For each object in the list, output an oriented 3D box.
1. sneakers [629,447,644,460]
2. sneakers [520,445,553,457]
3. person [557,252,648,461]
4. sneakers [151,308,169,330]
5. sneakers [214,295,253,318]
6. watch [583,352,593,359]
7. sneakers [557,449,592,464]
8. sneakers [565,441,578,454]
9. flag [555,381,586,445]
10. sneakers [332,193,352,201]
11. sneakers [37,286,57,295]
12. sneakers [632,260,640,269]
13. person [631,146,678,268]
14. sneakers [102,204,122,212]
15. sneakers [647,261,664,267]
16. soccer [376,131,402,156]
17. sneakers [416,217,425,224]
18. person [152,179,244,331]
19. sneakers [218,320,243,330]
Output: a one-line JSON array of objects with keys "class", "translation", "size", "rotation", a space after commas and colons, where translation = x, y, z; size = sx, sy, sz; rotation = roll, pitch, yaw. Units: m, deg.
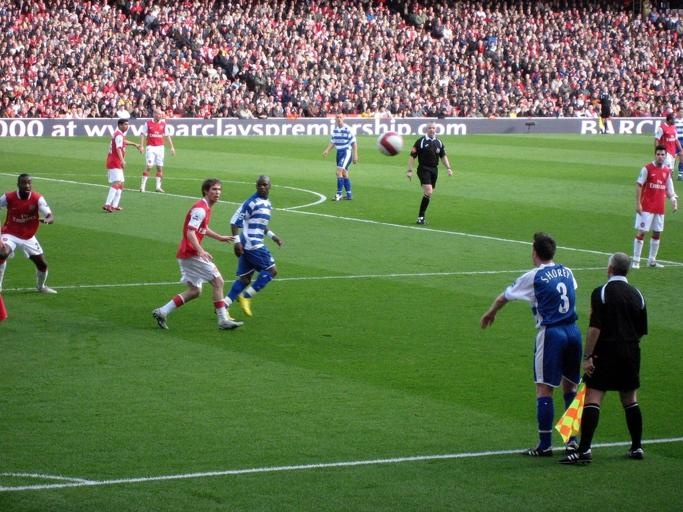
[{"class": "sneakers", "translation": [2.836, 1.895, 9.760], "size": [0.066, 0.076, 0.178], "rotation": [-1, 7, 7]}, {"class": "sneakers", "translation": [1.912, 1.890, 9.934], "size": [0.298, 0.114, 0.106], "rotation": [2, -2, 11]}, {"class": "person", "translation": [2.620, 1.003, 9.822], "size": [0.729, 1.940, 0.954], "rotation": [5, 13, 17]}, {"class": "sneakers", "translation": [-2.343, 0.850, 13.388], "size": [0.133, 0.366, 0.168], "rotation": [-36, 29, -23]}, {"class": "sneakers", "translation": [-1.462, 0.696, 14.014], "size": [0.532, 0.266, 0.178], "rotation": [-3, 4, 4]}, {"class": "watch", "translation": [2.379, 0.955, 9.779], "size": [0.070, 0.040, 0.058], "rotation": [-5, 29, 2]}, {"class": "sneakers", "translation": [2.221, 1.919, 9.717], "size": [0.319, 0.129, 0.120], "rotation": [-2, -6, 9]}, {"class": "sneakers", "translation": [2.230, 1.843, 9.840], "size": [0.069, 0.077, 0.187], "rotation": [-2, -5, -1]}, {"class": "flag", "translation": [2.292, 1.577, 10.145], "size": [0.195, 0.219, 0.735], "rotation": [9, 39, 26]}, {"class": "sneakers", "translation": [-0.006, -1.425, 24.612], "size": [0.519, 0.217, 0.161], "rotation": [1, -1, -31]}, {"class": "sneakers", "translation": [-4.338, 0.495, 15.039], "size": [0.330, 0.135, 0.110], "rotation": [2, 14, -1]}, {"class": "sneakers", "translation": [5.113, 0.147, 17.669], "size": [0.095, 0.143, 0.043], "rotation": [11, 53, 10]}, {"class": "person", "translation": [5.395, -0.879, 17.648], "size": [0.522, 2.169, 0.975], "rotation": [7, 14, 25]}, {"class": "sneakers", "translation": [-4.881, -1.014, 21.640], "size": [0.410, 0.176, 0.133], "rotation": [-4, 11, -27]}, {"class": "sneakers", "translation": [5.536, 0.135, 17.820], "size": [0.331, 0.141, 0.112], "rotation": [-2, 16, -14]}, {"class": "soccer", "translation": [1.069, -2.456, 22.501], "size": [0.503, 0.549, 0.716], "rotation": [1, 13, 0]}, {"class": "sneakers", "translation": [1.685, -0.756, 21.406], "size": [0.157, 0.138, 0.315], "rotation": [2, 13, 2]}, {"class": "person", "translation": [-1.919, -0.050, 13.567], "size": [1.141, 1.979, 0.848], "rotation": [-1, 13, -8]}, {"class": "sneakers", "translation": [-1.464, 0.901, 13.552], "size": [0.332, 0.145, 0.119], "rotation": [-4, 21, -4]}]
